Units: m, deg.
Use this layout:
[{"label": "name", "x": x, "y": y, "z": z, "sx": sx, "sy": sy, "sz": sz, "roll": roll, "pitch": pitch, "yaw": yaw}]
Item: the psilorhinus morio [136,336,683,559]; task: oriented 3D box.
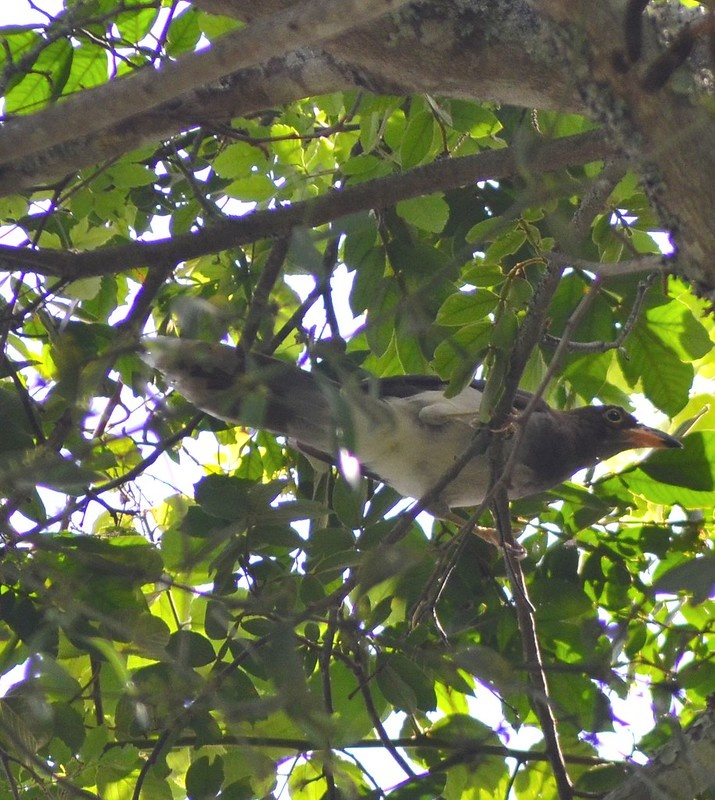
[{"label": "psilorhinus morio", "x": 0.118, "y": 0.087, "z": 4.553, "sx": 1.462, "sy": 0.494, "sz": 0.350, "roll": 16, "pitch": -21, "yaw": -5}]
